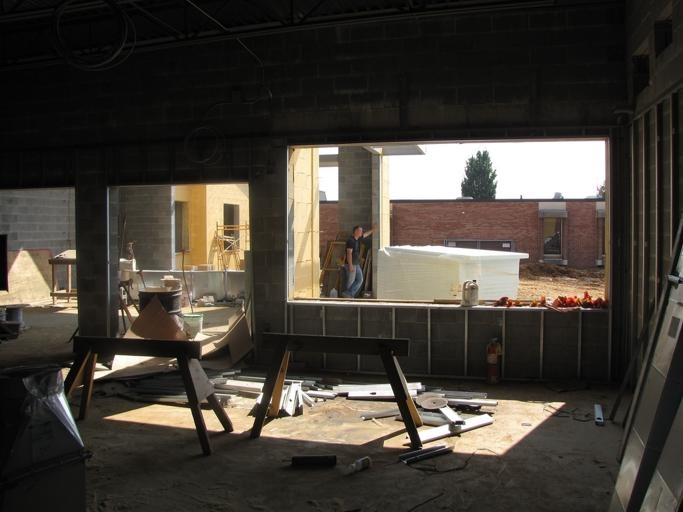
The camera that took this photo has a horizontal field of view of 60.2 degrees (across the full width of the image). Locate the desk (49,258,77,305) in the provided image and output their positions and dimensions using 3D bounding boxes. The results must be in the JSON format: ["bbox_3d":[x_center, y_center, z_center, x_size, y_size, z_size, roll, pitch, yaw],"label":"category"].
[{"bbox_3d":[-8.732,0.713,18.588,1.094,1.275,1.074,0,5,-11],"label":"desk"}]

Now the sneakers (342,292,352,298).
[{"bbox_3d":[0.135,1.131,16.969,0.121,0.169,0.386,-7,5,-40],"label":"sneakers"}]

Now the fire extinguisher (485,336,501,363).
[{"bbox_3d":[2.632,1.656,10.197,0.260,0.450,0.302,1,10,14],"label":"fire extinguisher"}]

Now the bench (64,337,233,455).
[{"bbox_3d":[-2.865,1.822,8.240,2.511,1.312,0.844,0,4,15],"label":"bench"}]

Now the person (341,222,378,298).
[{"bbox_3d":[0.564,0.223,17.875,0.838,2.581,1.334,11,31,21],"label":"person"}]

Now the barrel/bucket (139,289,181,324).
[{"bbox_3d":[-3.624,0.978,11.664,0.601,0.384,0.613,-1,0,0],"label":"barrel/bucket"}]
